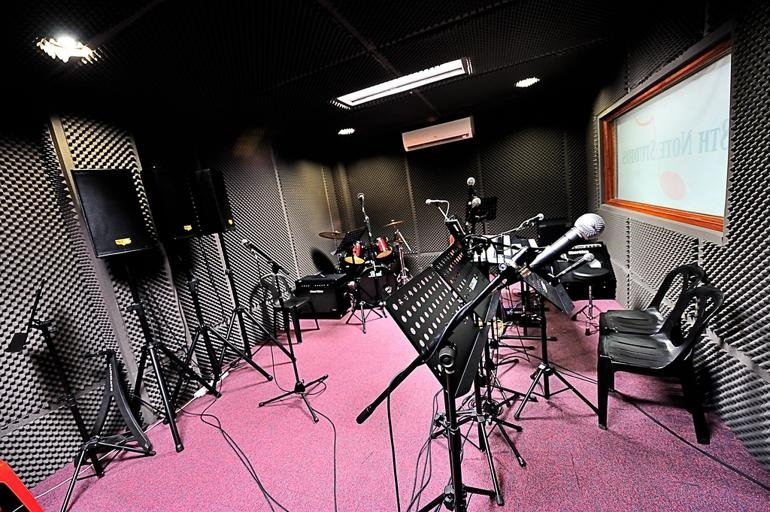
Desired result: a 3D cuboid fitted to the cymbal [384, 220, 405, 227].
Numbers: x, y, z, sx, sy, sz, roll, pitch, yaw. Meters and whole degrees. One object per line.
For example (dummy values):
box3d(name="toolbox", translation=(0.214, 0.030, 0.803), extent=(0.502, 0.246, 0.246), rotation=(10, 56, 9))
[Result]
box3d(name="cymbal", translation=(0.154, -0.544, 8.334), extent=(0.190, 0.088, 0.191), rotation=(-7, 3, 16))

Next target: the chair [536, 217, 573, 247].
box3d(name="chair", translation=(2.394, -0.365, 7.184), extent=(0.539, 0.543, 0.555), rotation=(-1, 1, 20))

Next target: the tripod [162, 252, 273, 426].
box3d(name="tripod", translation=(-2.092, 0.580, 6.332), extent=(1.363, 2.224, 1.398), rotation=(-10, 15, -17))

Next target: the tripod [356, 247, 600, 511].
box3d(name="tripod", translation=(0.917, 1.209, 4.627), extent=(1.049, 1.799, 1.801), rotation=(-6, 12, 34))

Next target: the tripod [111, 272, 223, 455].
box3d(name="tripod", translation=(-2.288, 1.143, 5.198), extent=(0.906, 1.556, 0.872), rotation=(-45, 30, -23))

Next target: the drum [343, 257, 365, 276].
box3d(name="drum", translation=(-0.492, 0.140, 7.727), extent=(0.298, 0.184, 0.301), rotation=(6, -34, 4))

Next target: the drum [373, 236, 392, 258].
box3d(name="drum", translation=(-0.038, -0.098, 7.934), extent=(0.308, 0.308, 0.292), rotation=(6, 42, -24))

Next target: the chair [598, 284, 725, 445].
box3d(name="chair", translation=(2.435, 0.787, 4.730), extent=(1.070, 1.377, 1.000), rotation=(3, 33, 27))

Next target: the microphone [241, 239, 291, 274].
box3d(name="microphone", translation=(-1.552, -0.002, 6.484), extent=(0.161, 0.211, 0.790), rotation=(14, -18, 23))

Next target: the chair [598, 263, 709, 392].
box3d(name="chair", translation=(2.525, 0.398, 4.824), extent=(0.812, 0.593, 0.574), rotation=(-2, 12, 9))

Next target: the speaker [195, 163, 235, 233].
box3d(name="speaker", translation=(-1.858, -0.600, 5.473), extent=(0.249, 0.702, 0.364), rotation=(-6, 8, 8))
